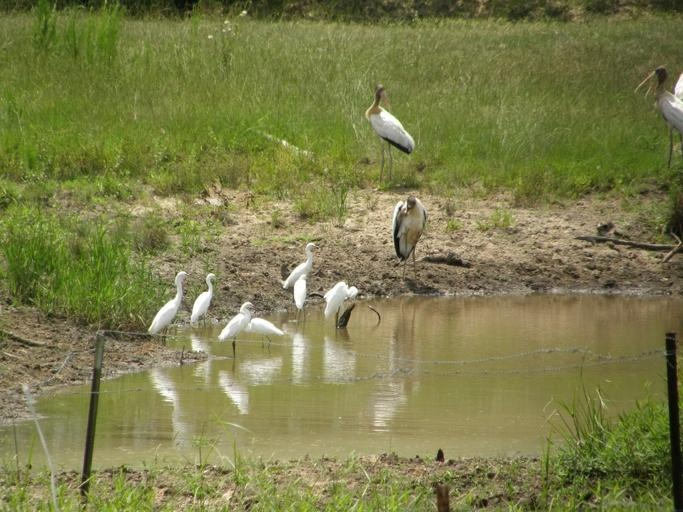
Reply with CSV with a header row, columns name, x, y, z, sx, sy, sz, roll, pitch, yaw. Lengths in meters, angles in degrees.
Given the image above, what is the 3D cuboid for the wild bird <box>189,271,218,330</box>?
name,x,y,z,sx,sy,sz,roll,pitch,yaw
wild bird,-2.565,0.793,21.416,0.486,1.007,1.237,-1,7,-7

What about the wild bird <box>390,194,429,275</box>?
name,x,y,z,sx,sy,sz,roll,pitch,yaw
wild bird,1.387,-0.431,23.929,0.644,1.665,0.558,5,9,41

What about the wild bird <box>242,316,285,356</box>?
name,x,y,z,sx,sy,sz,roll,pitch,yaw
wild bird,-1.318,1.370,20.355,0.785,0.691,0.252,7,23,20

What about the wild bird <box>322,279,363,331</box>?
name,x,y,z,sx,sy,sz,roll,pitch,yaw
wild bird,0.062,0.885,21.931,0.198,0.774,0.764,-33,30,12
